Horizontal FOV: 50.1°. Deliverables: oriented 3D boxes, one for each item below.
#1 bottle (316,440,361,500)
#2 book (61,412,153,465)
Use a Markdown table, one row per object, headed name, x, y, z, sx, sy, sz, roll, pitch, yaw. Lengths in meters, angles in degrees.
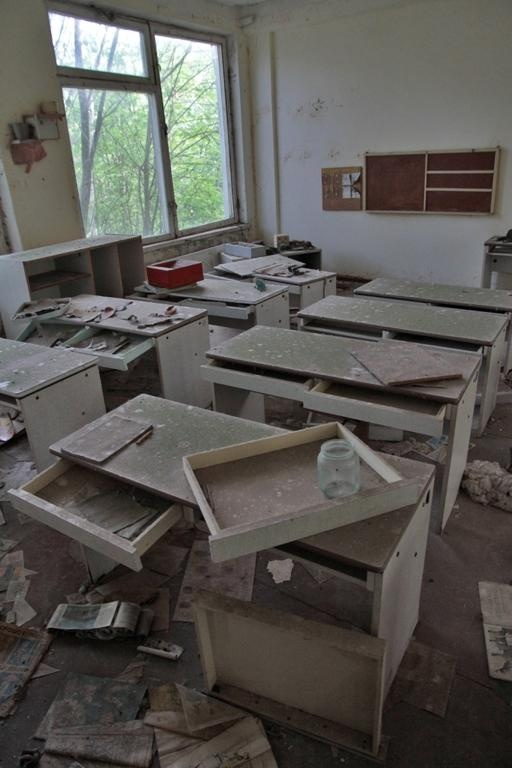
| name | x | y | z | sx | sy | sz | roll | pitch | yaw |
| --- | --- | --- | --- | --- | --- | --- | --- | --- | --- |
| bottle | 0.197 | 0.201 | 1.317 | 0.106 | 0.105 | 0.087 | 1 | 14 | 19 |
| book | -0.488 | 0.172 | 1.785 | 0.234 | 0.031 | 0.266 | 9 | 26 | 34 |
